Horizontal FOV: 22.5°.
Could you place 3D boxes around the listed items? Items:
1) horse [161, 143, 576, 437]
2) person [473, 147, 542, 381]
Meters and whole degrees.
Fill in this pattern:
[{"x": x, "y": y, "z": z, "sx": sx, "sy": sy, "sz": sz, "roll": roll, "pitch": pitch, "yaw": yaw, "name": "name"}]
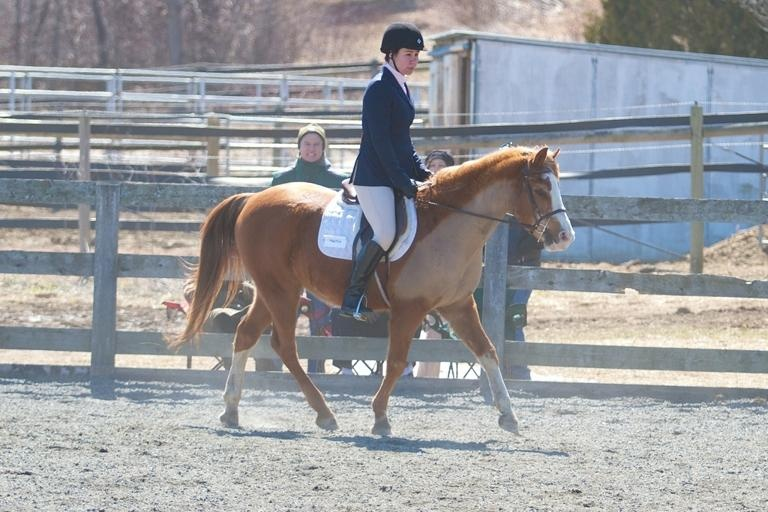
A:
[{"x": -0.372, "y": 0.723, "z": 35.070, "sx": 7.736, "sy": 4.995, "sz": 2.183, "roll": 0, "pitch": -2, "yaw": 22, "name": "horse"}, {"x": 2.398, "y": 0.565, "z": 36.187, "sx": 0.953, "sy": 3.317, "sz": 1.082, "roll": 1, "pitch": 0, "yaw": -1, "name": "person"}]
